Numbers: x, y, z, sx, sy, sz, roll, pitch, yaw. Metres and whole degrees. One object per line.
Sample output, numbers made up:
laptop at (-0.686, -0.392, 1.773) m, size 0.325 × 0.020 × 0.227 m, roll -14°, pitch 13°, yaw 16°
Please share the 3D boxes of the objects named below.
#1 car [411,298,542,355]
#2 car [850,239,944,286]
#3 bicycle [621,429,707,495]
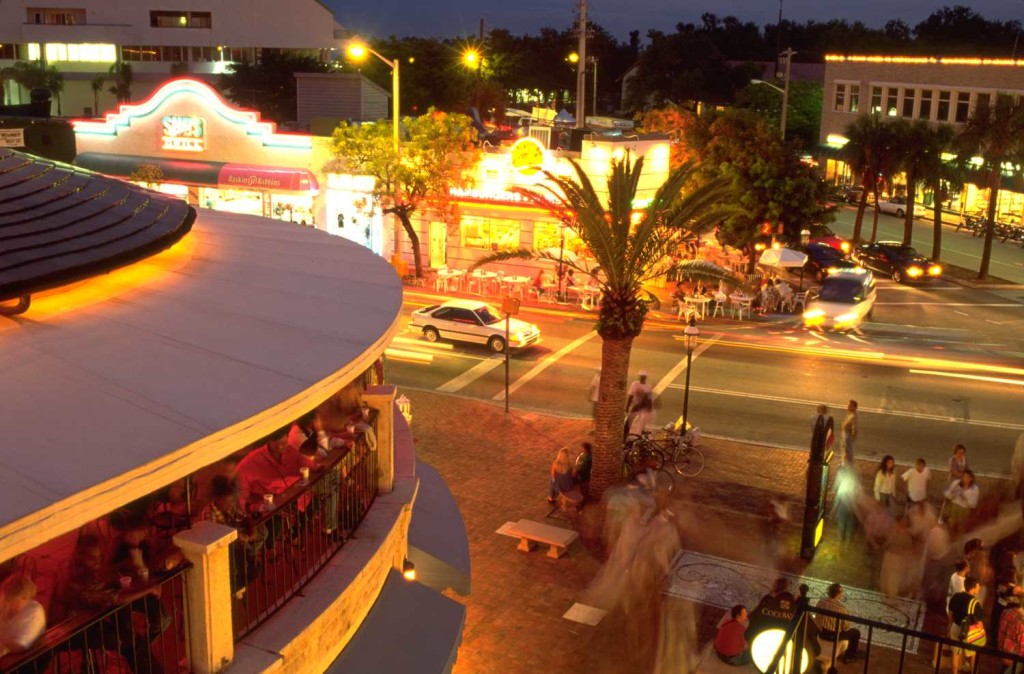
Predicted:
car at (-1.586, -0.506, 29.917) m, size 4.697 × 1.552 × 2.262 m, roll 9°, pitch 24°, yaw 20°
car at (23.034, -4.436, 43.933) m, size 2.340 × 1.762 × 5.039 m, roll -8°, pitch 18°, yaw -18°
bicycle at (4.224, 3.283, 19.706) m, size 2.334 × 1.499 × 1.176 m, roll -11°, pitch 6°, yaw -23°
